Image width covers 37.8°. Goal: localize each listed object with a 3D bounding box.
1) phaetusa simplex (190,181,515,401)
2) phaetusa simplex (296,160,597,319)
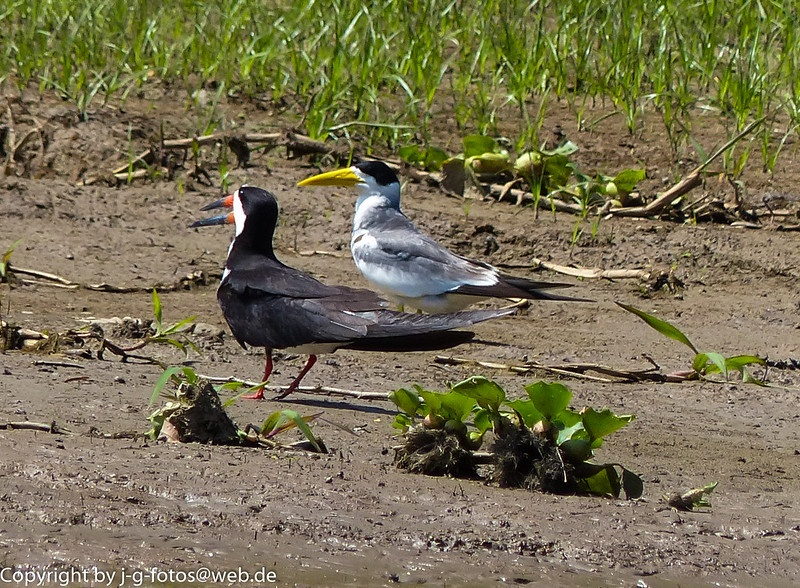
[{"bbox_3d":[-0.404,0.017,6.376,0.757,0.825,1.978,-5,19,-36],"label":"phaetusa simplex"},{"bbox_3d":[0.328,-0.283,7.819,2.084,0.930,0.633,10,16,19],"label":"phaetusa simplex"}]
